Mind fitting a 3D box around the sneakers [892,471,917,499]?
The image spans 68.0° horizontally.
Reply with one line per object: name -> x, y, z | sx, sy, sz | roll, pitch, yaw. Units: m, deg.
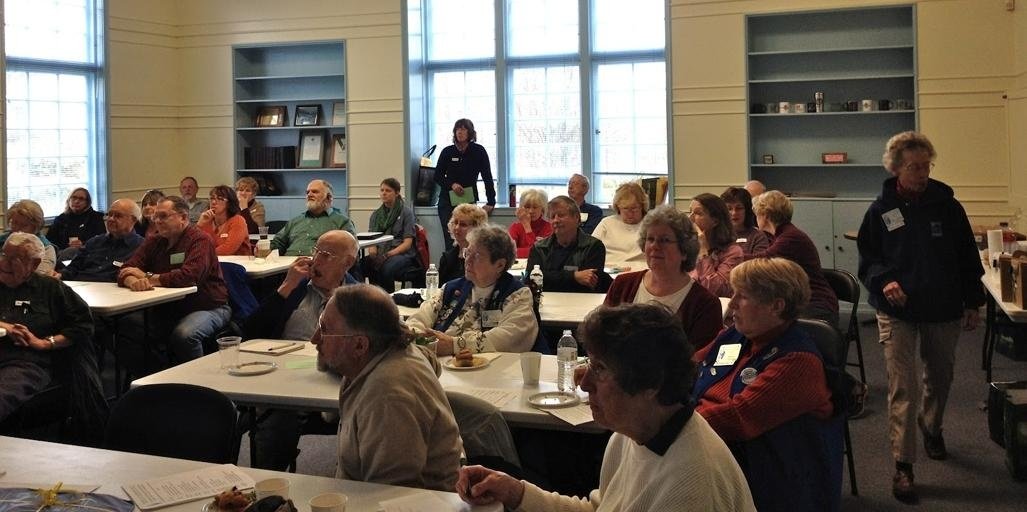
sneakers -> 3.664, 2.105, 7.191 | 0.143, 0.264, 0.405 | 6, 0, 19

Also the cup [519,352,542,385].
cup -> 0.182, 0.962, 6.578 | 0.150, 0.283, 0.244 | 7, 9, 44

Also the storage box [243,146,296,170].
storage box -> -4.033, -1.637, 12.776 | 0.673, 0.278, 0.460 | 0, 2, 11

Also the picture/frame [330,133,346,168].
picture/frame -> -2.860, -1.739, 12.654 | 0.325, 0.524, 0.047 | -8, 18, -44

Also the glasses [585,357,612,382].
glasses -> 0.603, 0.805, 5.396 | 0.160, 0.065, 0.155 | 2, 0, 40

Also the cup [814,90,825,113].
cup -> 4.300, -2.158, 10.764 | 0.141, 0.298, 0.256 | 3, 7, 20

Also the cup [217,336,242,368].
cup -> -2.526, 0.860, 6.809 | 0.174, 0.266, 0.224 | -2, 7, -21

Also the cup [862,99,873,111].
cup -> 4.926, -2.072, 10.603 | 0.180, 0.122, 0.173 | 0, 1, 0

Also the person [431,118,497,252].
person -> -0.751, -0.819, 11.831 | 1.046, 2.497, 0.730 | 5, 19, 8

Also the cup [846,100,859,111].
cup -> 4.734, -2.079, 10.664 | 0.227, 0.150, 0.128 | -6, 9, -43

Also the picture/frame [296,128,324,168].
picture/frame -> -3.360, -1.783, 12.711 | 0.515, 0.665, 0.086 | 3, -1, 17

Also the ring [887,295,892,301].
ring -> 3.540, 0.391, 7.196 | 0.060, 0.040, 0.014 | 4, 7, 24

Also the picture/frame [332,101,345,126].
picture/frame -> -2.858, -2.336, 12.562 | 0.256, 0.400, 0.174 | 2, 7, 8

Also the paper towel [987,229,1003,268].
paper towel -> 5.306, -0.110, 8.404 | 0.094, 0.331, 0.102 | 1, -16, 27

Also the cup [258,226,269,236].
cup -> -3.319, -0.321, 10.130 | 0.151, 0.155, 0.149 | 0, -4, 0

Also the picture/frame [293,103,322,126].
picture/frame -> -3.403, -2.338, 12.710 | 0.424, 0.337, 0.041 | 0, -5, 6

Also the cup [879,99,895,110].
cup -> 5.127, -2.077, 10.562 | 0.193, 0.127, 0.117 | -1, 2, -15
